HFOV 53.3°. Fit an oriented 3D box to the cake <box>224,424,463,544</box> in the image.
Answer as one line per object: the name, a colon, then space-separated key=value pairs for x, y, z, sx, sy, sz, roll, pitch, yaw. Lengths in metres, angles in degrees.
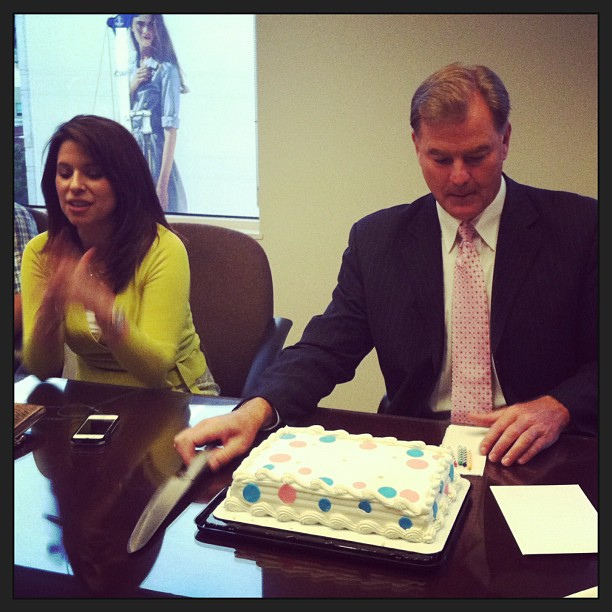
cake: x=0.076 y=0.274 z=1.010 sx=0.353 sy=0.068 sz=0.254 roll=4 pitch=11 yaw=17

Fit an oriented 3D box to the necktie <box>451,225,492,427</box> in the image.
necktie: x=0.432 y=0.066 z=1.582 sx=0.108 sy=0.454 sz=0.115 roll=2 pitch=10 yaw=13

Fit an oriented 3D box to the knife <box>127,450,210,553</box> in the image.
knife: x=-0.226 y=0.318 z=1.027 sx=0.052 sy=0.042 sz=0.273 roll=3 pitch=11 yaw=16

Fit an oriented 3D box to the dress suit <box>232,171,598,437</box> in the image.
dress suit: x=0.340 y=0.003 z=1.515 sx=0.872 sy=0.646 sz=0.535 roll=0 pitch=10 yaw=0

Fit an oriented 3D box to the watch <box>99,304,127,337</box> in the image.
watch: x=-0.571 y=0.053 z=1.871 sx=0.079 sy=0.067 sz=0.084 roll=-10 pitch=14 yaw=39

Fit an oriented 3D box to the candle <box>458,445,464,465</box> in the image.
candle: x=0.283 y=0.274 z=1.118 sx=0.007 sy=0.011 sz=0.038 roll=-7 pitch=24 yaw=14
